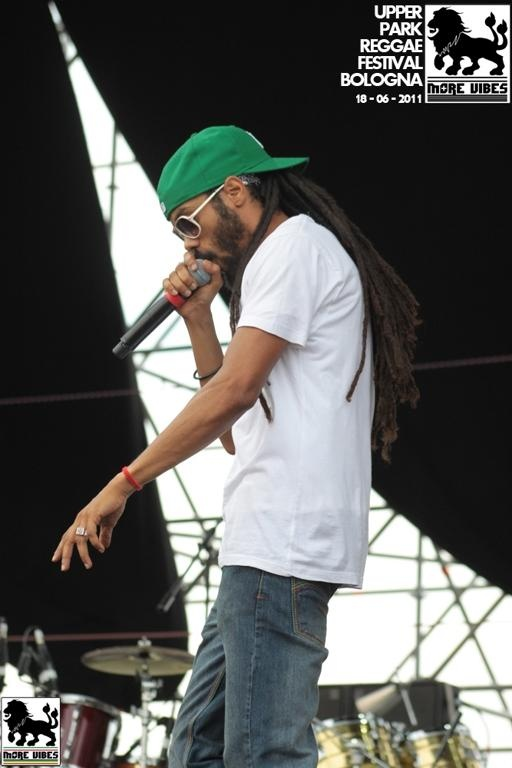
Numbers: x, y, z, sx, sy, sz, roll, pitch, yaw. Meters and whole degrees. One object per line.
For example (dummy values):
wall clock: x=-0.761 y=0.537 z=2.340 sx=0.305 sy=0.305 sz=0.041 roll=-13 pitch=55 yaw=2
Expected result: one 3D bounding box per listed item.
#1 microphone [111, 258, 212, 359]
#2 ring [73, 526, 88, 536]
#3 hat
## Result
microphone: x=-0.232 y=-0.187 z=2.633 sx=0.331 sy=0.286 sz=0.171 roll=9 pitch=-16 yaw=-29
ring: x=-0.364 y=0.308 z=2.042 sx=0.018 sy=0.023 sz=0.023 roll=4 pitch=-18 yaw=4
hat: x=-0.055 y=-0.525 z=2.437 sx=0.346 sy=0.173 sz=0.196 roll=-21 pitch=6 yaw=10
